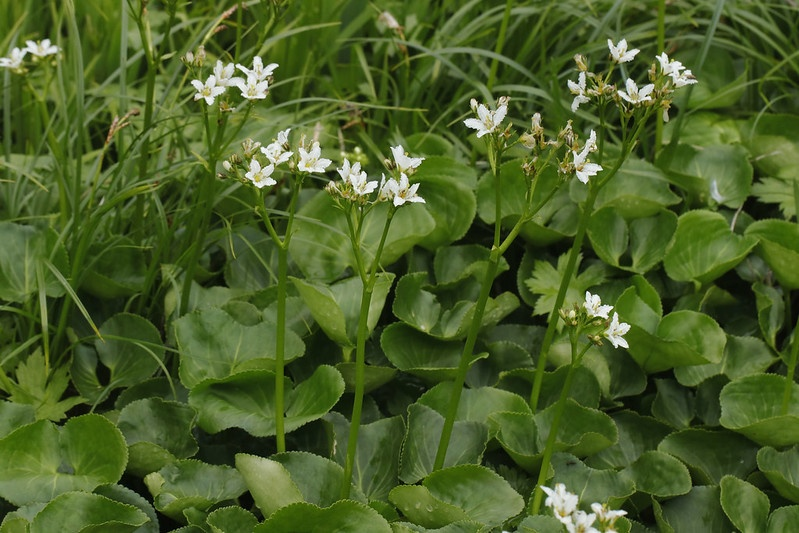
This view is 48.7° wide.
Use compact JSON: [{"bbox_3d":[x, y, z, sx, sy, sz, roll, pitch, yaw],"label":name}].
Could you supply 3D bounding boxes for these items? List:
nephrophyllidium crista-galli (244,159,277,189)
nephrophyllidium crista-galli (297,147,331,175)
[{"bbox_3d":[-0.480,-0.306,3.086,0.099,0.046,0.106,45,73,-2],"label":"nephrophyllidium crista-galli"},{"bbox_3d":[-0.301,-0.363,3.065,0.109,0.111,0.096,7,43,-2],"label":"nephrophyllidium crista-galli"}]
